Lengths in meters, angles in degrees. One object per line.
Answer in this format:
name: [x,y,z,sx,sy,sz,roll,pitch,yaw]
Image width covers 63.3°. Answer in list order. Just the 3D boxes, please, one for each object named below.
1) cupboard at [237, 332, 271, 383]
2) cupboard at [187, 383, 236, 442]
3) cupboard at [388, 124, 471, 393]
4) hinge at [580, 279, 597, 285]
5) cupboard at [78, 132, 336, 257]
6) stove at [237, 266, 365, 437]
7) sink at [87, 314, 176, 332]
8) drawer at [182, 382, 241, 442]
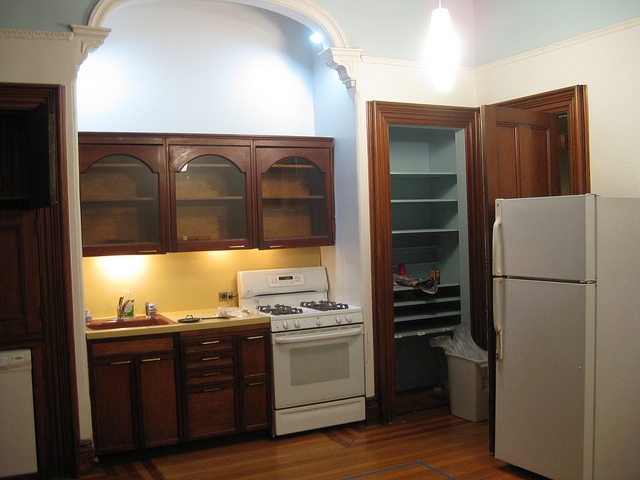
cupboard: [-0.576,0.956,4.450,0.258,0.408,0.254,0,5,-30]
cupboard: [-0.956,1.379,4.397,0.375,0.446,0.338,2,3,-28]
cupboard: [1.046,0.027,5.369,1.128,3.024,0.663,-1,0,-19]
hinge: [1.785,0.279,3.450,0.115,0.035,0.030,-5,3,-13]
cupboard: [-1.079,-0.415,4.555,2.621,1.158,0.589,-1,0,-20]
stove: [-0.211,0.919,4.921,0.995,1.538,0.984,-1,-1,-23]
sink: [-1.617,0.704,4.501,0.716,0.116,0.309,-5,3,-1]
drawer: [-0.937,1.420,4.420,0.478,0.436,0.326,-3,-3,-21]
